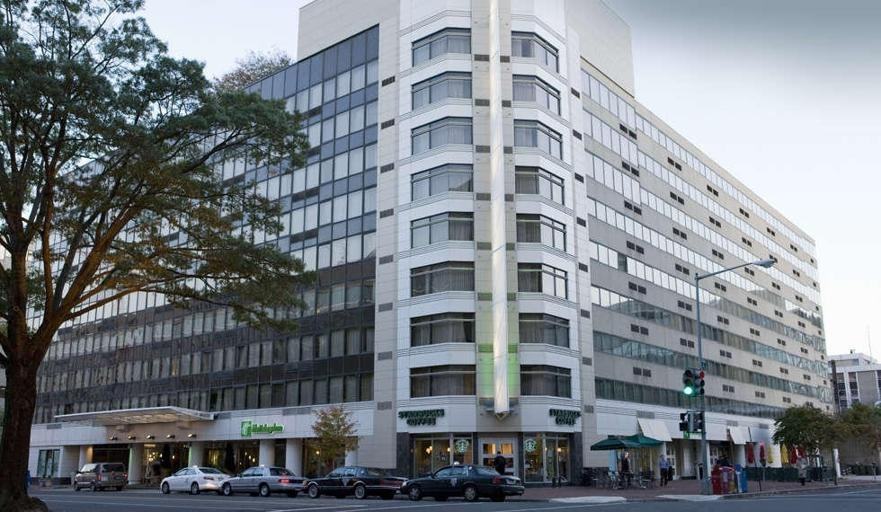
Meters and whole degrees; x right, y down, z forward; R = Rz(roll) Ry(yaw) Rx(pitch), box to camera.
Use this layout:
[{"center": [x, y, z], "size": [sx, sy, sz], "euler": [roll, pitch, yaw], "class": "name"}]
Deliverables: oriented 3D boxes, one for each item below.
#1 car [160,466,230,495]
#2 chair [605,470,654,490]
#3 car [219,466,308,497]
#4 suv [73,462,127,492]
[{"center": [-20.023, 18.550, 67.641], "size": [6.056, 1.755, 2.498], "euler": [-7, -17, 33], "class": "car"}, {"center": [15.194, 18.366, 66.680], "size": [4.621, 1.261, 1.498], "euler": [3, -4, -21], "class": "chair"}, {"center": [-13.531, 17.618, 63.957], "size": [6.451, 1.703, 2.780], "euler": [-6, -14, 32], "class": "car"}, {"center": [-30.742, 20.058, 74.762], "size": [3.774, 2.563, 2.347], "euler": [-11, -23, 26], "class": "suv"}]
